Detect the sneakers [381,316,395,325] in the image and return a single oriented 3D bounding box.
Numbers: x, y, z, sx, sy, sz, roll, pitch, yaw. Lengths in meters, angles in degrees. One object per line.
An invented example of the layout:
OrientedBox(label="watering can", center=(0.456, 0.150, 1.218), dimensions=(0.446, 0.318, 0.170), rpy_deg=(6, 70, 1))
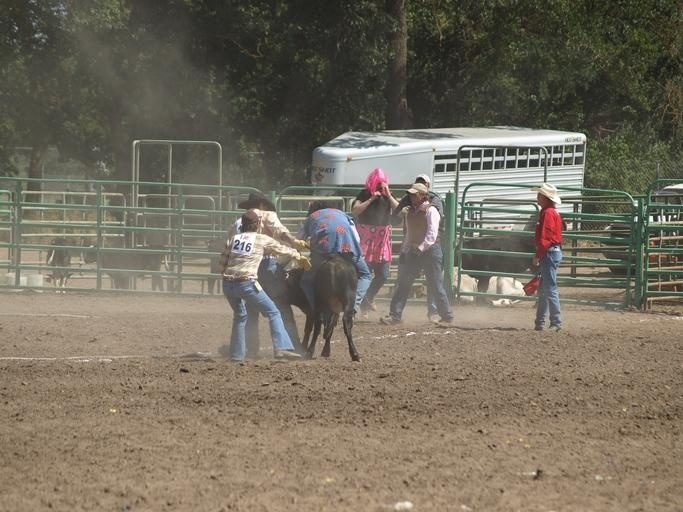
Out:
OrientedBox(label="sneakers", center=(0.767, 1.074, 16.996), dimensions=(0.201, 0.097, 0.101), rpy_deg=(15, -10, -14))

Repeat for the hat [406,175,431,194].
OrientedBox(label="hat", center=(1.315, -1.180, 16.794), dimensions=(0.308, 0.271, 0.519), rpy_deg=(11, 1, 24))

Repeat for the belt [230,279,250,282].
OrientedBox(label="belt", center=(-1.437, 0.340, 14.533), dimensions=(0.259, 0.051, 0.019), rpy_deg=(1, -1, 4))

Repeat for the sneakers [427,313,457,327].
OrientedBox(label="sneakers", center=(1.653, 1.083, 16.920), dimensions=(0.157, 0.203, 0.500), rpy_deg=(1, -9, -19))

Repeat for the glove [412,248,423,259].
OrientedBox(label="glove", center=(1.240, -0.037, 16.487), dimensions=(0.124, 0.126, 0.222), rpy_deg=(11, 8, 1))

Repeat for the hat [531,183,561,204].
OrientedBox(label="hat", center=(3.273, -1.035, 16.284), dimensions=(0.441, 0.174, 0.383), rpy_deg=(38, 12, 25))

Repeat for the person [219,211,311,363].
OrientedBox(label="person", center=(-1.206, 0.435, 14.745), dimensions=(1.061, 2.142, 0.503), rpy_deg=(1, -1, -8))

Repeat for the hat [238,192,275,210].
OrientedBox(label="hat", center=(-1.281, -0.787, 15.237), dimensions=(0.377, 0.146, 0.326), rpy_deg=(-4, -10, 41))

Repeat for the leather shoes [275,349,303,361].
OrientedBox(label="leather shoes", center=(-0.778, 1.444, 14.911), dimensions=(0.397, 0.282, 0.143), rpy_deg=(-3, 2, -5))

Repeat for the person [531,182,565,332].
OrientedBox(label="person", center=(3.325, 0.008, 16.385), dimensions=(0.425, 2.365, 0.616), rpy_deg=(1, -1, 12))

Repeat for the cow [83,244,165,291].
OrientedBox(label="cow", center=(-4.281, 0.222, 20.287), dimensions=(1.507, 0.884, 2.252), rpy_deg=(1, -1, -10))

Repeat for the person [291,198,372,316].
OrientedBox(label="person", center=(-0.278, -0.009, 15.176), dimensions=(1.141, 1.796, 0.861), rpy_deg=(-11, -17, 15))
